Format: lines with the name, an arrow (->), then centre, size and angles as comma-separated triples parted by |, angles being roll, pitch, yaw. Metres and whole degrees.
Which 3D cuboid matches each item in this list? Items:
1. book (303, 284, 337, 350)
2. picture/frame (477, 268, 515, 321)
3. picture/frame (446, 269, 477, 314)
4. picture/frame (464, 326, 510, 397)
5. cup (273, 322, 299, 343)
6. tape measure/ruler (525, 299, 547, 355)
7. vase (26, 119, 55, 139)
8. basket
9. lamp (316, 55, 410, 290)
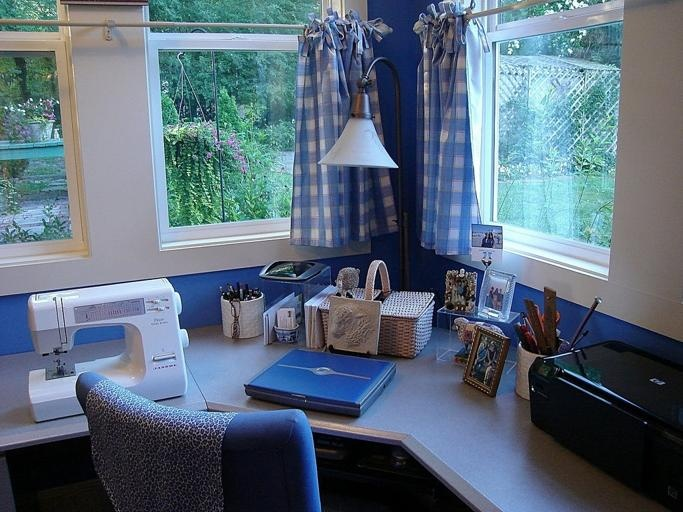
book -> -0.089, 0.260, 2.238 | 0.070, 0.196, 0.211 | 2, 19, 8
picture/frame -> 0.617, 0.157, 2.121 | 0.042, 0.253, 0.181 | 14, -5, -36
picture/frame -> 0.486, 0.150, 2.192 | 0.154, 0.223, 0.022 | 4, 7, 21
picture/frame -> 0.525, 0.386, 1.941 | 0.041, 0.255, 0.182 | 15, 1, -30
cup -> -0.237, 0.324, 2.309 | 0.084, 0.056, 0.073 | 3, 8, 23
tape measure/ruler -> 0.676, 0.240, 1.887 | 0.055, 0.224, 0.049 | -16, 11, -33
vase -> -1.286, -0.534, 2.296 | 0.105, 0.112, 0.076 | 1, 18, -10
basket -> 0.189, 0.187, 2.310 | 0.463, 0.424, 0.325 | 3, 11, 24
lamp -> 0.126, -0.302, 2.358 | 0.342, 1.083, 0.745 | 0, 17, 7
